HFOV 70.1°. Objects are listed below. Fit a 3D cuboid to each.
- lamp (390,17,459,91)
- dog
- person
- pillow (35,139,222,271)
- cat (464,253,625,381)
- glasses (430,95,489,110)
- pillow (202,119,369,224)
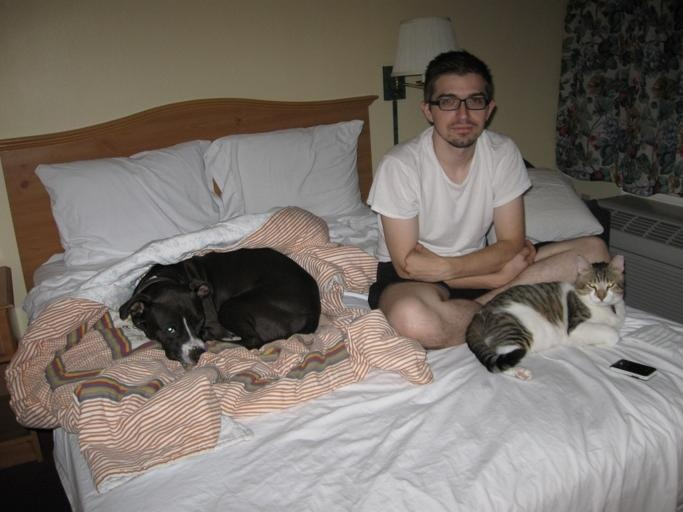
[{"bbox_3d":[0.550,-1.403,3.494,0.471,0.500,0.498,-2,27,1],"label":"lamp"},{"bbox_3d":[-0.518,0.213,2.267,0.684,0.301,0.526,-6,29,-20],"label":"dog"},{"bbox_3d":[0.569,-0.285,2.375,1.188,1.296,0.826,-16,17,-26],"label":"person"},{"bbox_3d":[-1.213,-0.332,2.926,0.954,0.509,0.598,-16,29,-31],"label":"pillow"},{"bbox_3d":[0.887,0.221,2.102,0.686,0.335,0.404,-16,21,-6],"label":"cat"},{"bbox_3d":[0.547,-0.721,2.285,0.262,0.076,0.082,6,25,10],"label":"glasses"},{"bbox_3d":[-0.340,-0.552,3.175,0.837,0.708,0.251,0,-12,-25],"label":"pillow"}]
